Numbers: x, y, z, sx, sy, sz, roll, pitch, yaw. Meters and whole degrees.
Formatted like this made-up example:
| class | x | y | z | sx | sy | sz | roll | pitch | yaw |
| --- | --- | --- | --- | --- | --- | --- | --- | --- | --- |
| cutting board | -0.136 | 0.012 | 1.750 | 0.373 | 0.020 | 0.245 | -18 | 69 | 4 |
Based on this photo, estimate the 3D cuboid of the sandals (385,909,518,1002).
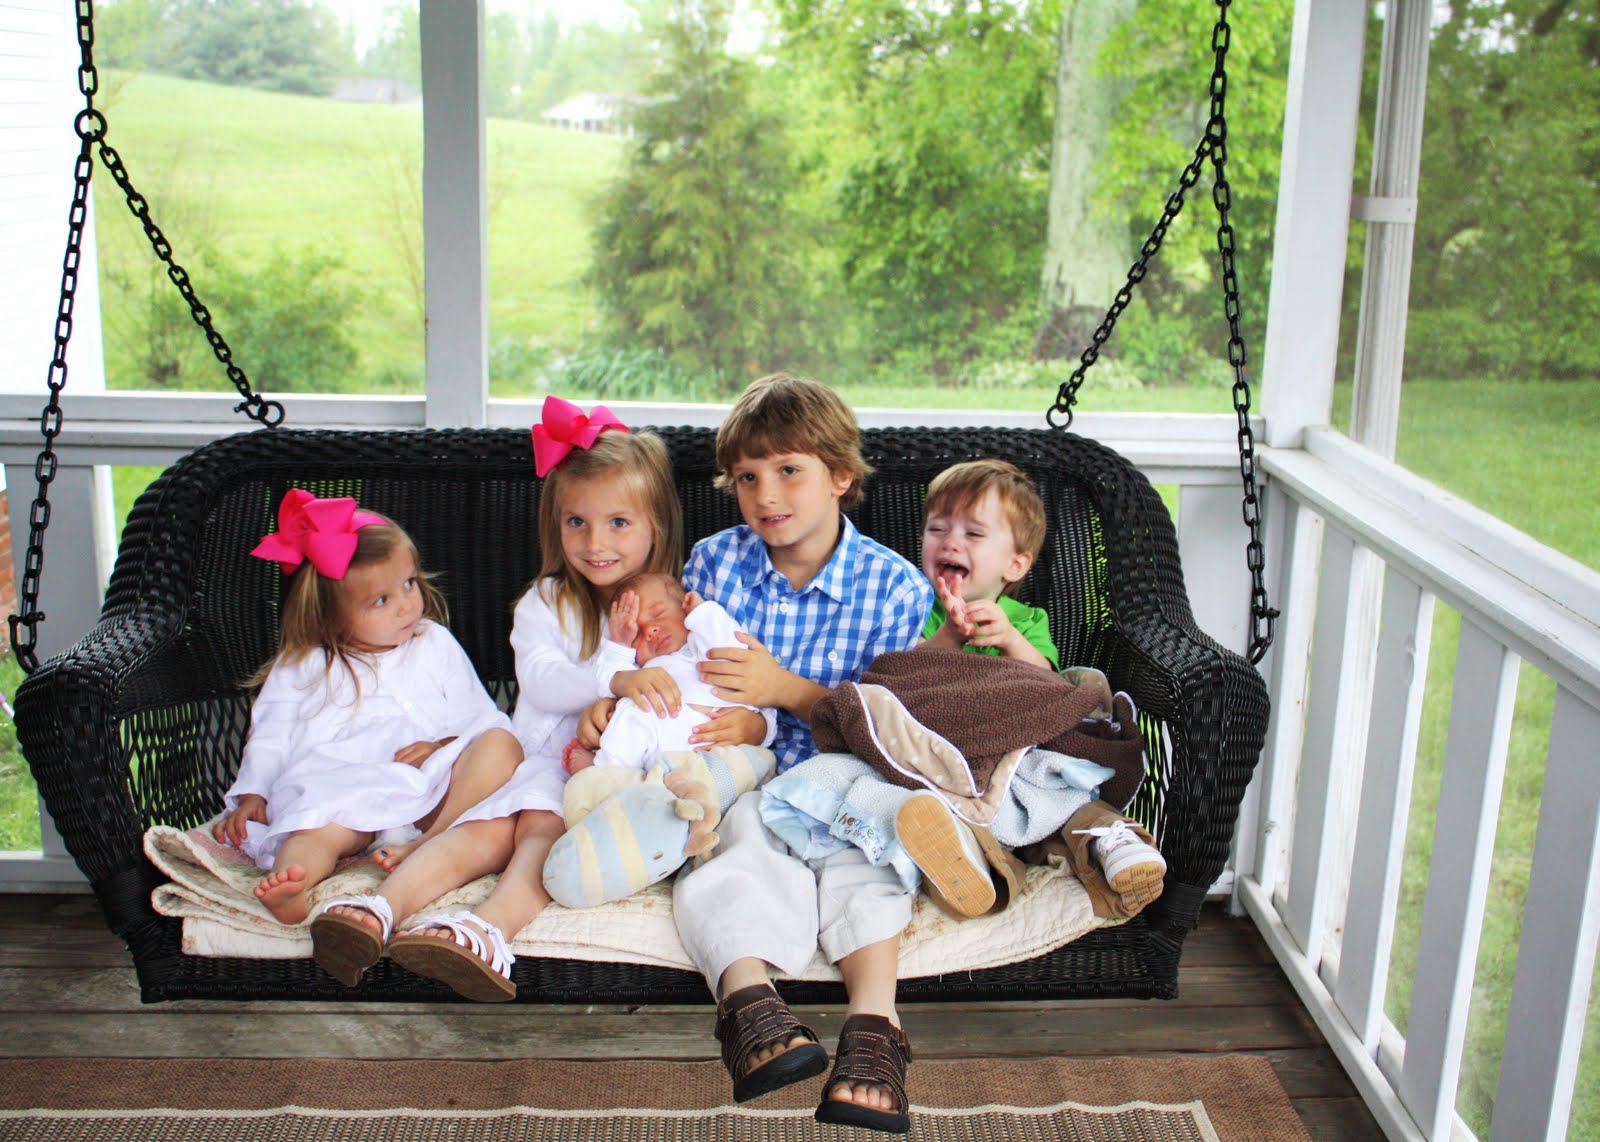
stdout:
| class | x | y | z | sx | sy | sz | roll | pitch | yaw |
| --- | --- | --- | --- | --- | --- | --- | --- | --- | --- |
| sandals | -0.587 | 0.660 | 2.215 | 0.194 | 0.177 | 0.152 | 2 | 17 | -1 |

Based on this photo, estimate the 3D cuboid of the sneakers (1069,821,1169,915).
| class | x | y | z | sx | sy | sz | roll | pitch | yaw |
| --- | --- | --- | --- | --- | --- | --- | --- | --- | --- |
| sneakers | 0.561 | 0.523 | 2.294 | 0.118 | 0.146 | 0.164 | -1 | 18 | -11 |

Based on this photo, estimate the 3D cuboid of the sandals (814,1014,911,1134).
| class | x | y | z | sx | sy | sz | roll | pitch | yaw |
| --- | --- | --- | --- | --- | --- | --- | --- | --- | --- |
| sandals | 0.108 | 0.817 | 2.107 | 0.142 | 0.124 | 0.157 | 3 | 17 | 4 |

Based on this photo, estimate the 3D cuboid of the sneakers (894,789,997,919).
| class | x | y | z | sx | sy | sz | roll | pitch | yaw |
| --- | --- | --- | --- | --- | --- | --- | --- | --- | --- |
| sneakers | 0.259 | 0.504 | 2.311 | 0.129 | 0.252 | 0.107 | -33 | -6 | 2 |

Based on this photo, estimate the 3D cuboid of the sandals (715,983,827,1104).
| class | x | y | z | sx | sy | sz | roll | pitch | yaw |
| --- | --- | --- | --- | --- | --- | --- | --- | --- | --- |
| sandals | -0.070 | 0.778 | 2.177 | 0.152 | 0.143 | 0.311 | -10 | -7 | -19 |

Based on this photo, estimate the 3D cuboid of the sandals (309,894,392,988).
| class | x | y | z | sx | sy | sz | roll | pitch | yaw |
| --- | --- | --- | --- | --- | --- | --- | --- | --- | --- |
| sandals | -0.757 | 0.617 | 2.165 | 0.099 | 0.184 | 0.070 | 4 | 34 | -8 |

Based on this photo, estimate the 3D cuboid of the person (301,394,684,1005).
| class | x | y | z | sx | sy | sz | roll | pitch | yaw |
| --- | --- | --- | --- | --- | --- | --- | --- | --- | --- |
| person | -0.449 | 0.188 | 2.566 | 0.417 | 0.582 | 1.266 | 13 | 51 | -5 |

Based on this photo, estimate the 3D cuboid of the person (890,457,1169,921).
| class | x | y | z | sx | sy | sz | roll | pitch | yaw |
| --- | --- | --- | --- | --- | --- | --- | --- | --- | --- |
| person | 0.368 | 0.198 | 2.536 | 0.499 | 0.777 | 0.727 | -5 | 14 | -11 |

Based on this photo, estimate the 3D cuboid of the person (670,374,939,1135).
| class | x | y | z | sx | sy | sz | roll | pitch | yaw |
| --- | --- | --- | --- | --- | --- | --- | --- | --- | --- |
| person | 0.006 | 0.240 | 2.407 | 0.464 | 0.539 | 1.397 | 5 | 43 | -3 |

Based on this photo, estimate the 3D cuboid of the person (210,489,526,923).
| class | x | y | z | sx | sy | sz | roll | pitch | yaw |
| --- | --- | --- | --- | --- | --- | --- | --- | --- | --- |
| person | -0.818 | 0.252 | 2.507 | 0.557 | 0.691 | 0.852 | -1 | 15 | -16 |
